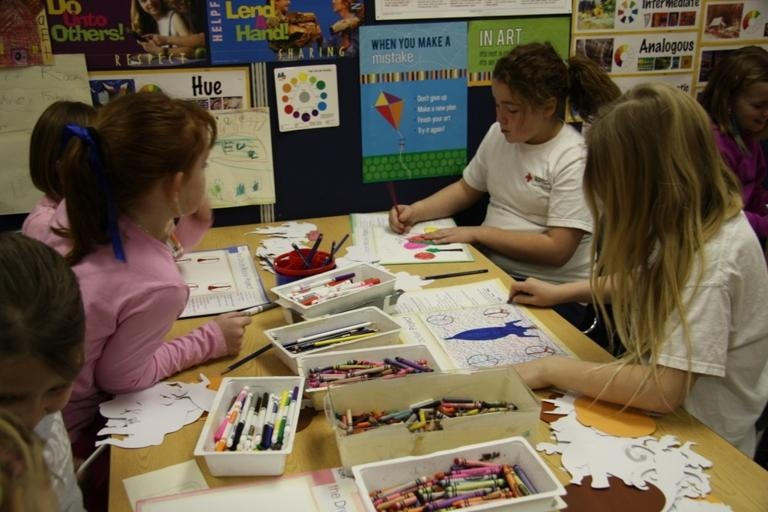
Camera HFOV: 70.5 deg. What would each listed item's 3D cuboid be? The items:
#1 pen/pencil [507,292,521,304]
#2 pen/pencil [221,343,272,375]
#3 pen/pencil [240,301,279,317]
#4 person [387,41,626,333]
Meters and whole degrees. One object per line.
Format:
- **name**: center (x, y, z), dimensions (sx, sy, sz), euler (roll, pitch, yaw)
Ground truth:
- **pen/pencil**: center (0.370, 0.120, 1.536), dimensions (0.009, 0.034, 0.023), euler (27, 8, -46)
- **pen/pencil**: center (-0.333, 0.250, 1.309), dimensions (0.014, 0.014, 0.130), euler (27, 41, 27)
- **pen/pencil**: center (-0.341, 0.147, 1.493), dimensions (0.019, 0.021, 0.137), euler (0, 12, 45)
- **person**: center (0.472, -0.087, 2.155), dimensions (0.833, 1.378, 0.618), euler (-2, 22, -2)
